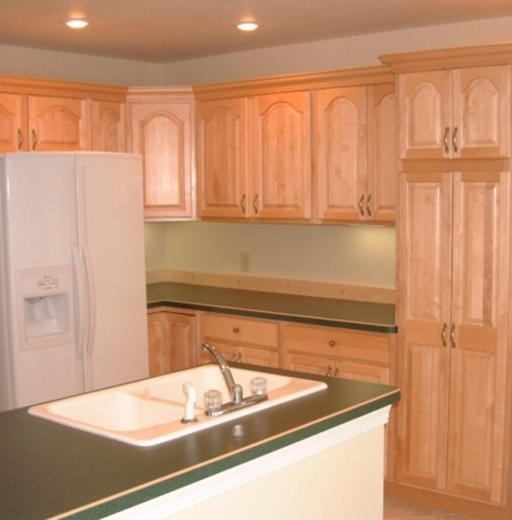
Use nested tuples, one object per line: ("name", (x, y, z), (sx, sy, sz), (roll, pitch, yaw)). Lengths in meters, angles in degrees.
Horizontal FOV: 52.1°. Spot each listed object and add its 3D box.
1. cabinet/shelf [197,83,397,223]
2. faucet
("cabinet/shelf", (0.311, -0.730, 3.488), (1.218, 0.592, 0.202), (2, 9, 29))
("faucet", (-0.103, 0.325, 1.532), (0.113, 0.176, 0.217), (1, 0, -5))
